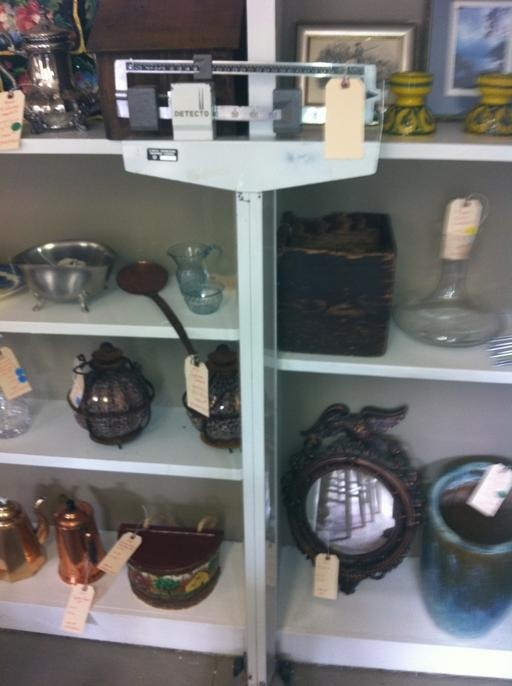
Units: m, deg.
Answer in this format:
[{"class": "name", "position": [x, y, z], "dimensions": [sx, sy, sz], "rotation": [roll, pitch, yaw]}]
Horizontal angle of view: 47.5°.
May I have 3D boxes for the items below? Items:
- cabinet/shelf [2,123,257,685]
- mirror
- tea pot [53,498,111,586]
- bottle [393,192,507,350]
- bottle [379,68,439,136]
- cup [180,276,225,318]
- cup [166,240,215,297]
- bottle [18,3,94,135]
[{"class": "cabinet/shelf", "position": [-0.209, 0.220, 1.126], "dimensions": [0.624, 1.181, 0.167], "rotation": [8, 32, 16]}, {"class": "mirror", "position": [0.185, 0.332, 1.161], "dimensions": [0.297, 0.366, 0.021], "rotation": [1, 3, 25]}, {"class": "tea pot", "position": [-0.428, 0.464, 1.383], "dimensions": [0.182, 0.195, 0.098], "rotation": [15, 21, 43]}, {"class": "bottle", "position": [0.318, -0.117, 0.949], "dimensions": [0.175, 0.221, 0.154], "rotation": [2, 26, 20]}, {"class": "bottle", "position": [0.239, -0.372, 0.900], "dimensions": [0.087, 0.083, 0.090], "rotation": [-14, 34, -12]}, {"class": "cup", "position": [-0.088, -0.075, 0.960], "dimensions": [0.066, 0.038, 0.061], "rotation": [-1, 36, 1]}, {"class": "cup", "position": [-0.102, -0.130, 0.988], "dimensions": [0.087, 0.093, 0.075], "rotation": [3, 36, 5]}, {"class": "bottle", "position": [-0.322, -0.430, 0.927], "dimensions": [0.107, 0.168, 0.096], "rotation": [-7, 30, -9]}]
